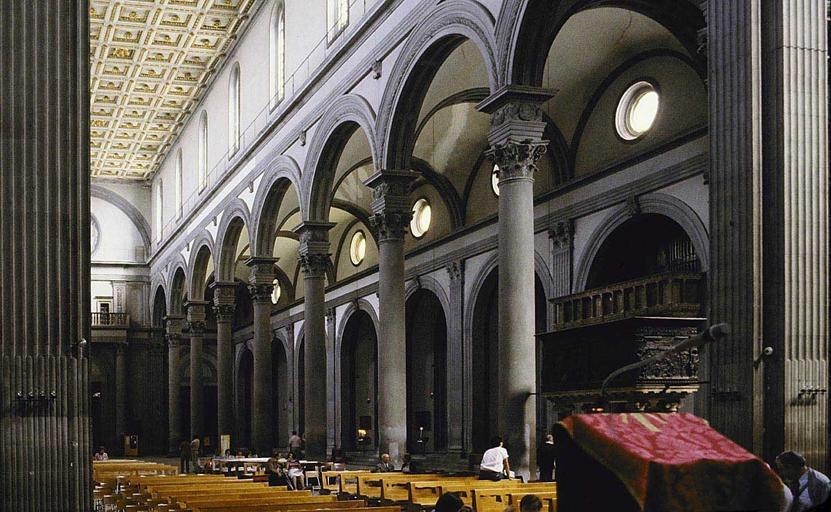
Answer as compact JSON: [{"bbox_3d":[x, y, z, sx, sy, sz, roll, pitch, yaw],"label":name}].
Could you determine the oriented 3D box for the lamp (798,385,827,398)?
[{"bbox_3d":[6.106,2.090,22.683,0.473,0.149,0.076,3,-16,-13],"label":"lamp"}]

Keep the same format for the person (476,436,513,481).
[{"bbox_3d":[1.392,3.554,26.005,0.548,0.789,0.465,-3,-16,8],"label":"person"}]
